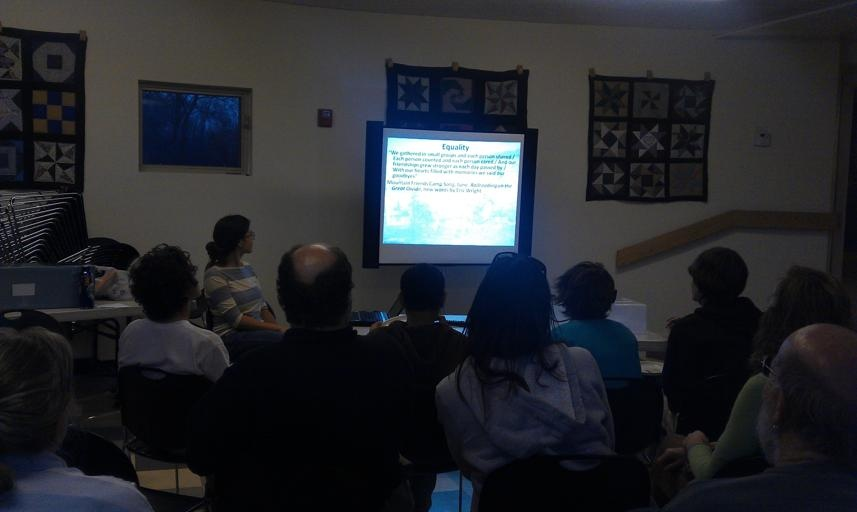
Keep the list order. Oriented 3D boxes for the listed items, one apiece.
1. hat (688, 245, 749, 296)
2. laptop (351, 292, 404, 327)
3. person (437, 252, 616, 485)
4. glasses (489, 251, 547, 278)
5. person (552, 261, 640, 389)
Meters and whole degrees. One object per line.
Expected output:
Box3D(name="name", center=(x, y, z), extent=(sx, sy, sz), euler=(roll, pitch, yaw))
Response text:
Box3D(name="hat", center=(1.844, 0.135, 4.209), extent=(0.305, 0.323, 0.368), euler=(-7, 13, -37))
Box3D(name="laptop", center=(-0.416, 0.470, 5.193), extent=(0.422, 0.239, 0.407), euler=(-1, -1, 7))
Box3D(name="person", center=(0.478, 0.562, 3.221), extent=(0.864, 1.112, 0.315), euler=(4, 8, 6))
Box3D(name="glasses", center=(0.458, 0.024, 3.377), extent=(0.165, 0.082, 0.215), euler=(5, 3, -1))
Box3D(name="person", center=(0.980, 0.419, 3.886), extent=(0.649, 0.692, 0.418), euler=(-4, 11, 11))
